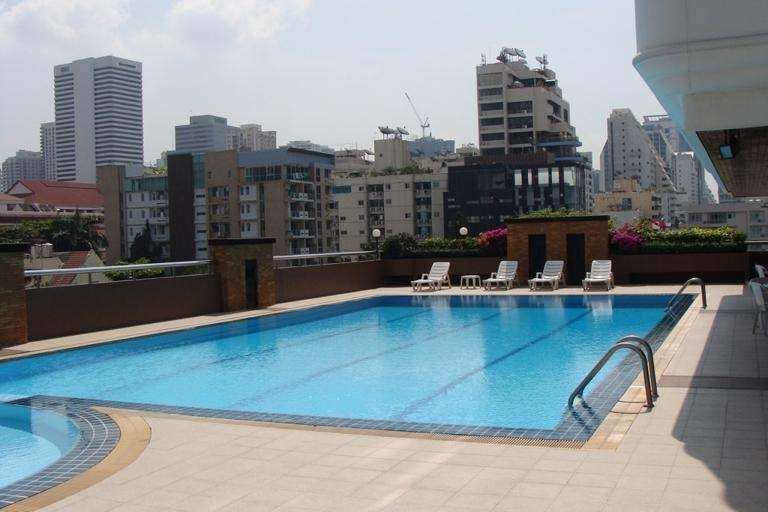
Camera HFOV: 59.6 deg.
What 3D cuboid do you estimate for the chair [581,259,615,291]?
[{"bbox_3d":[7.370,0.665,22.841,0.910,0.851,1.170,-1,4,17],"label":"chair"}]

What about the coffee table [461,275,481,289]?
[{"bbox_3d":[3.281,1.006,24.985,0.562,0.399,0.547,-3,2,15],"label":"coffee table"}]

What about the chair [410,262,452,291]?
[{"bbox_3d":[1.799,0.789,24.868,0.870,0.870,1.446,-2,-2,28],"label":"chair"}]

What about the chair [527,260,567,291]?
[{"bbox_3d":[5.740,0.700,23.487,0.894,0.801,1.383,-1,1,31],"label":"chair"}]

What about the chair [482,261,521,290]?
[{"bbox_3d":[4.266,0.733,24.261,0.793,0.876,1.447,-2,-1,29],"label":"chair"}]
